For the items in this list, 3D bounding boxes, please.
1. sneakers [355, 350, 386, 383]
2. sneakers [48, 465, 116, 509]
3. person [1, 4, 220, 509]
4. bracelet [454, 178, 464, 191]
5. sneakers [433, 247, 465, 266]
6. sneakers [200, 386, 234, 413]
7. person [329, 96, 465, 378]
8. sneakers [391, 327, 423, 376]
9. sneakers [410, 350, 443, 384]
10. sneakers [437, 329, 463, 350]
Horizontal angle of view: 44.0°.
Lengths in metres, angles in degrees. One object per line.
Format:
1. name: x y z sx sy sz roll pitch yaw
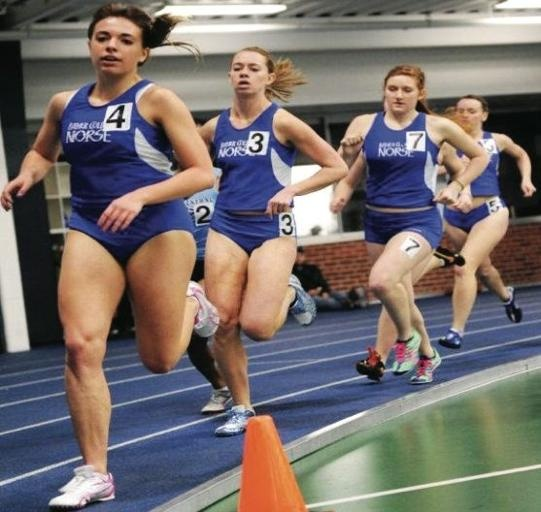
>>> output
1. sneakers: 0.699 0.763 4.521 0.142 0.261 0.179 -4 49 28
2. sneakers: -0.638 0.799 2.368 0.111 0.121 0.263 -11 -9 44
3. person: -0.557 0.086 2.513 0.751 1.975 0.846 -3 15 -8
4. bracelet: 1.245 -0.463 4.384 0.019 0.065 0.069 -37 8 13
5. sneakers: 1.399 0.013 5.231 0.157 0.121 0.379 -10 11 -9
6. sneakers: -0.328 0.895 4.183 0.096 0.107 0.263 -2 -3 19
7. person: 0.815 -0.015 4.401 0.776 1.992 1.030 3 15 15
8. sneakers: 0.897 0.653 4.399 0.126 0.356 0.160 12 -10 41
9. sneakers: 1.053 0.750 4.577 0.127 0.144 0.351 -10 26 40
10. sneakers: 1.416 0.646 5.259 0.143 0.108 0.255 0 -9 23
